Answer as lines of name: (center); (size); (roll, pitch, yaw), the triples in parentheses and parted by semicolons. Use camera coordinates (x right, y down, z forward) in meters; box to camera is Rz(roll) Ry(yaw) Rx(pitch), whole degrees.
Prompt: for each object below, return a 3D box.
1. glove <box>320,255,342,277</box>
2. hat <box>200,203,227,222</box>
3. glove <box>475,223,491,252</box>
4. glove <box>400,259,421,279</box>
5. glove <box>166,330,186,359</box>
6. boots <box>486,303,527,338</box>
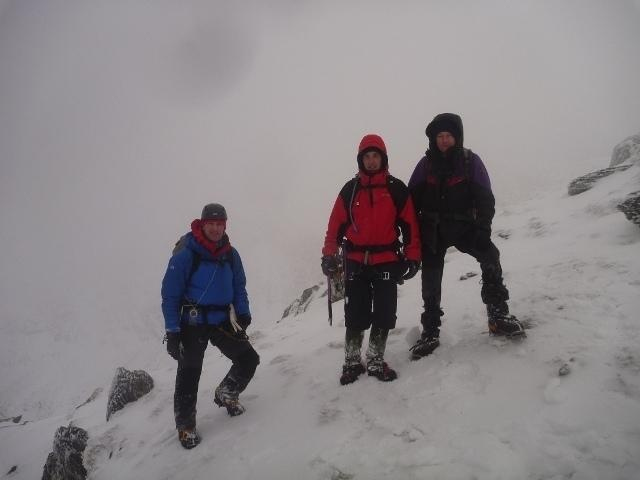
glove: (0.166, 0.449, 9.357); (0.442, 0.489, 0.362); (-1, -4, 16)
hat: (-1.678, -0.414, 8.537); (0.401, 0.343, 0.406); (3, -6, -44)
glove: (2.748, -0.066, 9.208); (0.249, 0.414, 0.241); (-27, 34, -21)
glove: (1.535, 0.536, 9.352); (0.278, 0.399, 0.226); (1, 17, -30)
glove: (-2.397, 1.743, 8.926); (0.186, 0.506, 0.288); (-3, -1, 38)
boots: (3.125, 1.325, 9.313); (0.250, 0.552, 0.704); (-9, 6, -24)
